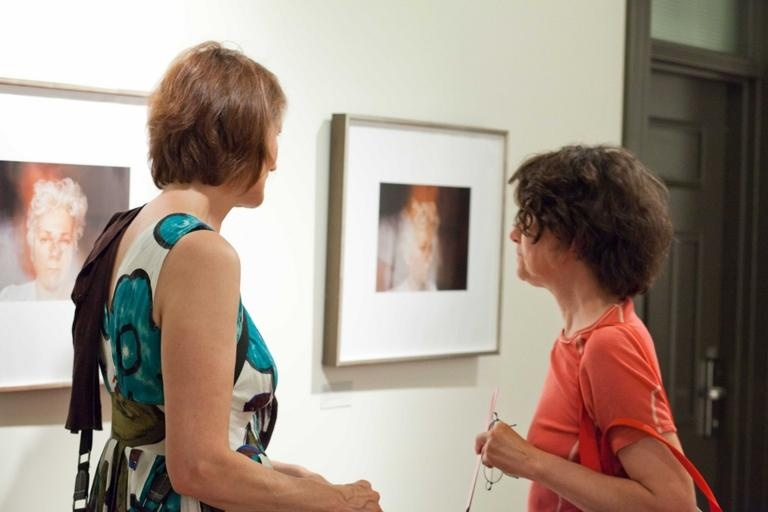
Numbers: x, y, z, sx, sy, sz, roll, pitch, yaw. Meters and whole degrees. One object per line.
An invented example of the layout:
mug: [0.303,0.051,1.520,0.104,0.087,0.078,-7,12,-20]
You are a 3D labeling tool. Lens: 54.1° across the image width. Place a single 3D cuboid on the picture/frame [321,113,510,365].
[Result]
picture/frame: [0.078,-0.069,2.517,0.760,1.013,0.097,1,0,-29]
